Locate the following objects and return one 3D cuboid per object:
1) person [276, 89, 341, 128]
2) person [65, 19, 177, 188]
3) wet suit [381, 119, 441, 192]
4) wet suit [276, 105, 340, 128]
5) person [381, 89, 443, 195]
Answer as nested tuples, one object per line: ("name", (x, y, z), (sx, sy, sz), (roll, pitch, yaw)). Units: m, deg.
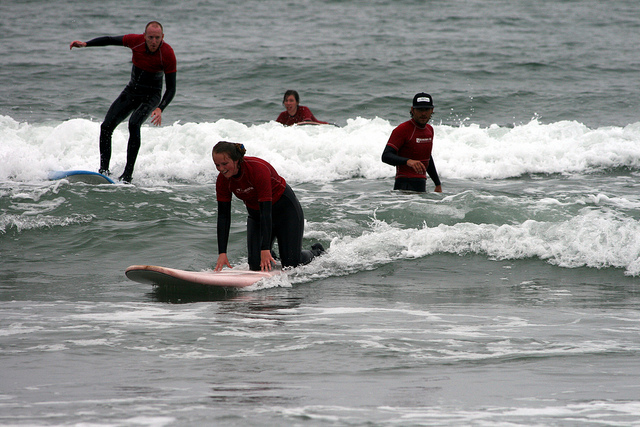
("person", (-0.286, -2.390, 24.114), (1.387, 0.869, 0.863), (-2, 5, -5))
("person", (-3.517, -2.032, 20.162), (1.582, 3.086, 0.888), (0, 7, 20))
("wet suit", (1.692, -1.072, 19.828), (0.814, 1.366, 0.904), (0, 6, 18))
("wet suit", (-0.380, -2.225, 24.258), (1.114, 0.311, 0.592), (4, -28, -5))
("person", (1.726, -1.288, 19.832), (1.065, 1.897, 1.076), (-1, 6, 5))
